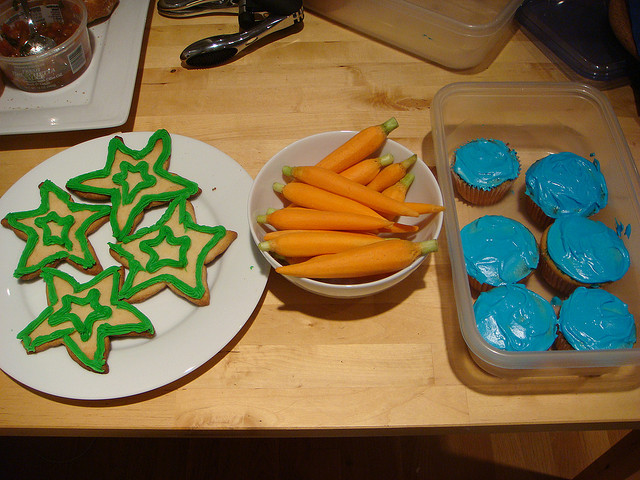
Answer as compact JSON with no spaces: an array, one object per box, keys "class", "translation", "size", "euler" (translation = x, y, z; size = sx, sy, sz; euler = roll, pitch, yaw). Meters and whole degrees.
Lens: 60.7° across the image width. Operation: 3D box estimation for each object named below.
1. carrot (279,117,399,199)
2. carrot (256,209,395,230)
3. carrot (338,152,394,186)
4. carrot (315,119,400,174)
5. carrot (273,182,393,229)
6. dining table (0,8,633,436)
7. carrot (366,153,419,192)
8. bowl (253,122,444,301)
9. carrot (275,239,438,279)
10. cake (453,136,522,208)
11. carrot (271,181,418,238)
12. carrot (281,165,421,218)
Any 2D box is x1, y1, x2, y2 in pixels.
[{"class":"carrot","translation":[0.052,-0.215,1.478],"size":[0.369,0.075,0.064],"euler":[-34,22,-5]},{"class":"carrot","translation":[0.009,-0.053,1.388],"size":[0.340,0.062,0.052],"euler":[2,69,-5]},{"class":"carrot","translation":[0.121,-0.193,1.490],"size":[0.185,0.061,0.055],"euler":[-20,104,4]},{"class":"carrot","translation":[0.103,-0.250,1.492],"size":[0.263,0.071,0.070],"euler":[-26,36,0]},{"class":"carrot","translation":[0.033,-0.087,1.399],"size":[0.275,0.055,0.047],"euler":[13,25,8]},{"class":"dining table","translation":[-0.040,-0.150,1.530],"size":[1.813,0.359,1.307],"euler":[3,69,-5]},{"class":"carrot","translation":[0.195,-0.181,1.467],"size":[0.157,0.045,0.047],"euler":[-36,59,27]},{"class":"bowl","translation":[0.067,-0.136,1.440],"size":[0.474,0.486,0.258],"euler":[-13,44,6]},{"class":"carrot","translation":[0.087,0.053,1.338],"size":[0.388,0.123,0.074],"euler":[-7,70,-8]},{"class":"cake","translation":[0.484,-0.209,1.611],"size":[0.206,0.105,0.204],"euler":[-5,64,0]},{"class":"carrot","translation":[0.060,-0.078,1.401],"size":[0.312,0.049,0.048],"euler":[17,44,8]},{"class":"carrot","translation":[0.081,-0.125,1.419],"size":[0.264,0.047,0.046],"euler":[19,36,7]}]
